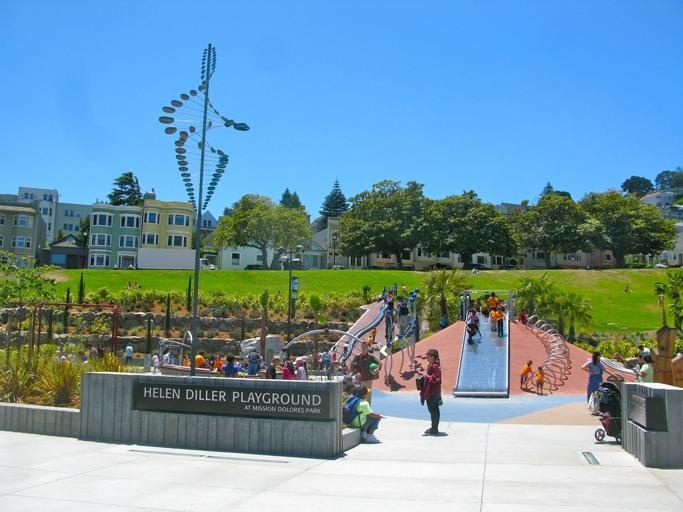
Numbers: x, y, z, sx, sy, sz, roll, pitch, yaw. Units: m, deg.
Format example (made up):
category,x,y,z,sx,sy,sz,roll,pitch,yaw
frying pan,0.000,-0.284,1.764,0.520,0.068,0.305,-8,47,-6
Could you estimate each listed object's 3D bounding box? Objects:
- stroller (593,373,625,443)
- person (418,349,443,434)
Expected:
category,x,y,z,sx,sy,sz,roll,pitch,yaw
stroller,6.554,3.686,17.084,0.623,1.541,0.800,-1,1,8
person,2.304,3.505,18.156,0.610,2.206,1.166,0,-3,7
